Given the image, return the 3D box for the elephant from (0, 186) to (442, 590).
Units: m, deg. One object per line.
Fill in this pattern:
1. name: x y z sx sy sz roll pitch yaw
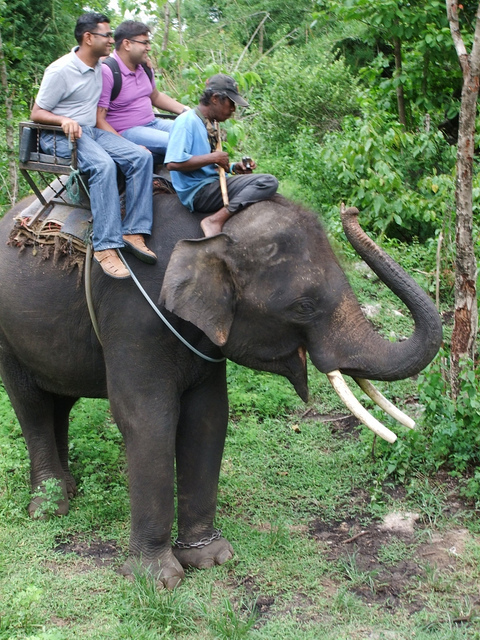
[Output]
1. elephant: -0.318 -0.001 3.609 2.996 1.998 1.203 5 11 23

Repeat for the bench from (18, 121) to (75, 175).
1. bench: -0.906 -0.791 3.000 0.317 0.167 0.289 5 6 -12

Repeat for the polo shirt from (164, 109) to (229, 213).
1. polo shirt: -0.187 -0.686 2.780 0.272 0.390 0.297 14 29 34

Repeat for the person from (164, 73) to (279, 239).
1. person: -0.085 -0.704 2.723 0.458 0.680 0.623 -3 12 -6

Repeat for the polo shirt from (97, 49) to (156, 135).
1. polo shirt: -0.535 -1.079 3.163 0.184 0.425 0.244 4 29 16

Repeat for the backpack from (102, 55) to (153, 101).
1. backpack: -0.554 -1.173 3.191 0.270 0.226 0.189 -10 17 -3
